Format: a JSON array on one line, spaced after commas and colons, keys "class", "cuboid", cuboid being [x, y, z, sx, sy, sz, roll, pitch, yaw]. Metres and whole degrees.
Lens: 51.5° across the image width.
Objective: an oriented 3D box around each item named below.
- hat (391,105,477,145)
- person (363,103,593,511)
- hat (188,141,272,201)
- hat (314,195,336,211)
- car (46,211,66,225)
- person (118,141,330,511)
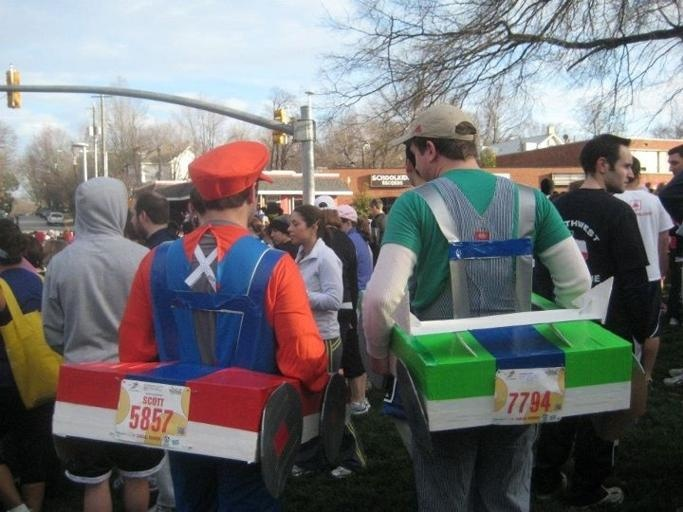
[{"class": "hat", "cuboid": [0.555, -0.784, 4.230, 0.336, 0.266, 0.499, -11, 16, -38]}, {"class": "person", "cuboid": [0.717, 0.309, 4.011, 1.217, 2.321, 0.673, -4, 7, -19]}, {"class": "hat", "cuboid": [-0.636, -0.549, 4.241, 0.326, 0.180, 0.433, 10, 32, 18]}, {"class": "hat", "cuboid": [-0.188, -0.626, 8.468, 0.217, 0.201, 0.323, -2, 3, -17]}, {"class": "car", "cuboid": [-20.665, -2.658, 50.983, 0.868, 0.926, 1.810, -5, 22, -26]}, {"class": "person", "cuboid": [-0.684, 0.412, 4.177, 1.120, 2.151, 0.672, 2, 8, 28]}]
